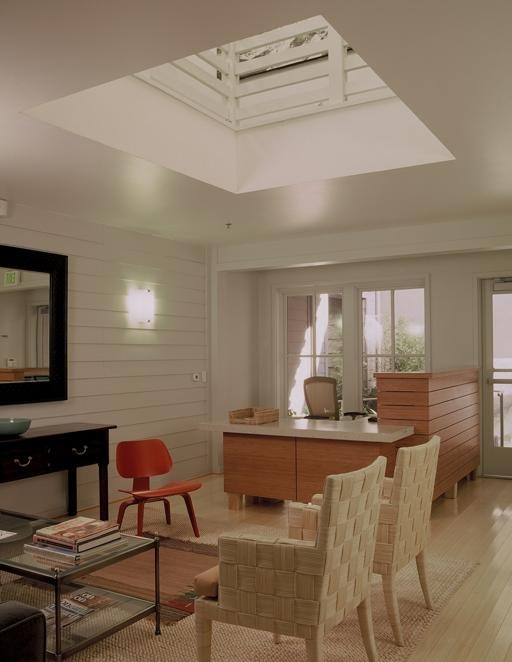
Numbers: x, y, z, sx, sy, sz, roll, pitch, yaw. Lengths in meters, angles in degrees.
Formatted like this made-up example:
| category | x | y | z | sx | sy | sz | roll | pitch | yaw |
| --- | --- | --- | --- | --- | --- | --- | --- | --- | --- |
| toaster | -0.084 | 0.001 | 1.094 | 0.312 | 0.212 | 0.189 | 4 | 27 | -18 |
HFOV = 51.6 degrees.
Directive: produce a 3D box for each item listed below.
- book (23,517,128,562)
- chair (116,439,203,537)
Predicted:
| category | x | y | z | sx | sy | sz | roll | pitch | yaw |
| --- | --- | --- | --- | --- | --- | --- | --- | --- | --- |
| book | -0.791 | 0.879 | 2.256 | 0.211 | 0.049 | 0.215 | 2 | 1 | 23 |
| chair | -0.743 | 1.145 | 3.836 | 0.553 | 0.671 | 0.488 | 4 | -8 | -42 |
